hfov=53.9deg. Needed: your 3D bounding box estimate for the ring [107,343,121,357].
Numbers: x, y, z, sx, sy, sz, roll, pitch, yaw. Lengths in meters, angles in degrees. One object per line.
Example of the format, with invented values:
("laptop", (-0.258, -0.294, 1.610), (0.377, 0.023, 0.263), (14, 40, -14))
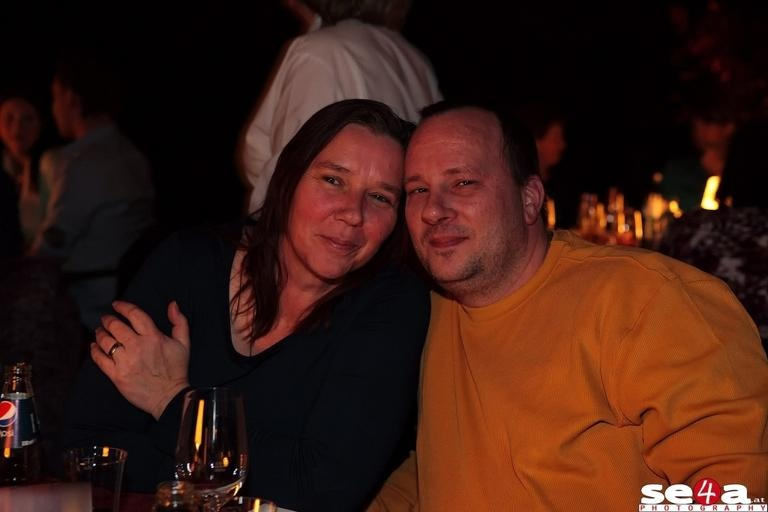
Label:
("ring", (-1.085, 0.379, 3.049), (0.013, 0.051, 0.049), (35, -41, -13))
